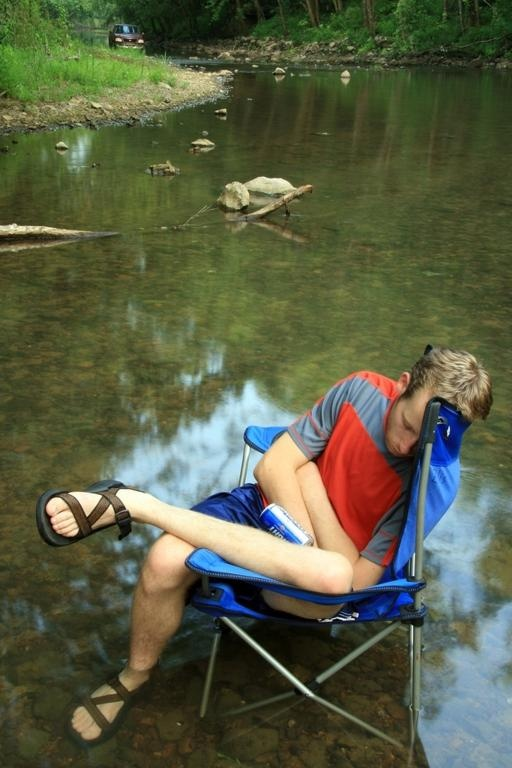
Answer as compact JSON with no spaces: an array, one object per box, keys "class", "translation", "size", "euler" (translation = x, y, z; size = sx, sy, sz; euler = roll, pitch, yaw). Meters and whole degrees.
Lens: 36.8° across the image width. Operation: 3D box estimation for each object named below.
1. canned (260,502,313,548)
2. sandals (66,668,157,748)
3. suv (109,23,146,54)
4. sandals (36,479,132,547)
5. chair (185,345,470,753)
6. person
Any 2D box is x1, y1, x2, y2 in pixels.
[{"class":"canned","translation":[0.082,0.453,2.481],"size":[0.171,0.086,0.070],"euler":[41,14,20]},{"class":"sandals","translation":[-0.454,0.992,2.395],"size":[0.137,0.093,0.284],"euler":[18,27,31]},{"class":"suv","translation":[-5.880,-15.433,34.798],"size":[1.514,1.183,2.507],"euler":[-7,30,-20]},{"class":"sandals","translation":[-0.550,0.396,2.450],"size":[0.289,0.161,0.208],"euler":[-5,25,-17]},{"class":"chair","translation":[0.187,0.491,2.454],"size":[0.783,1.093,0.807],"euler":[-17,31,-34]},{"class":"person","translation":[0.058,0.416,2.475],"size":[1.211,1.310,0.591],"euler":[-2,9,-16]}]
